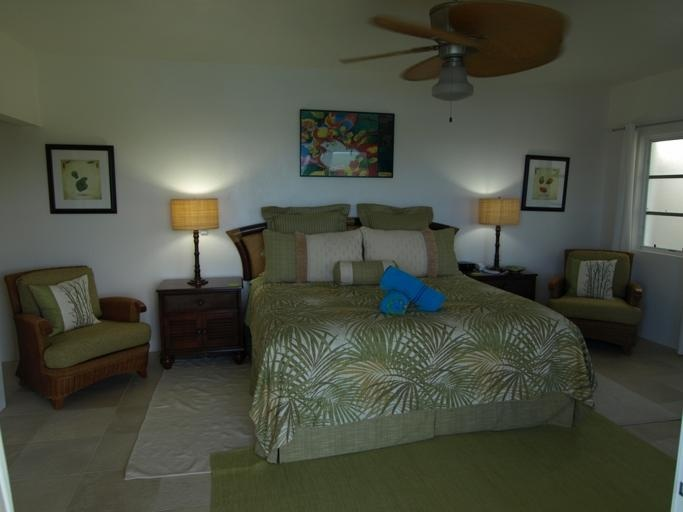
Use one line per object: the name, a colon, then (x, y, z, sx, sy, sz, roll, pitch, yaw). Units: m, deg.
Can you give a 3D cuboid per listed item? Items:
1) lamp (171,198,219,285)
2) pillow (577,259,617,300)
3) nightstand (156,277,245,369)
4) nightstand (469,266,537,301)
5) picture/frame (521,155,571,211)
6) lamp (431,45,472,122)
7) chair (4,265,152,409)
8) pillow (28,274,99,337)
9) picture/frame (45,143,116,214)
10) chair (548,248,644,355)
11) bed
lamp: (-1.277, -0.132, 4.453, 0.431, 0.746, 0.507, -5, 15, -17)
pillow: (2.456, 0.239, 4.820, 0.343, 0.363, 0.135, 8, -1, 28)
nightstand: (-1.225, 0.584, 4.526, 0.761, 0.660, 0.507, -2, 5, -1)
nightstand: (1.589, 0.273, 4.983, 0.557, 0.485, 0.312, -2, 11, -11)
picture/frame: (2.126, -0.779, 5.287, 0.618, 0.660, 0.050, 0, 8, -18)
lamp: (0.557, -0.894, 2.525, 0.186, 0.428, 0.183, 4, 10, 24)
chair: (-2.077, 0.559, 3.992, 0.744, 0.871, 0.857, 11, 17, 38)
pillow: (-2.162, 0.391, 3.935, 0.217, 0.358, 0.462, 9, 13, 27)
picture/frame: (-2.304, -0.686, 4.366, 0.639, 0.676, 0.030, -3, 14, -16)
chair: (2.479, 0.415, 4.856, 0.879, 0.924, 0.849, -4, 9, -42)
bed: (0.225, 0.176, 3.508, 1.733, 0.813, 1.588, -4, 19, -12)
